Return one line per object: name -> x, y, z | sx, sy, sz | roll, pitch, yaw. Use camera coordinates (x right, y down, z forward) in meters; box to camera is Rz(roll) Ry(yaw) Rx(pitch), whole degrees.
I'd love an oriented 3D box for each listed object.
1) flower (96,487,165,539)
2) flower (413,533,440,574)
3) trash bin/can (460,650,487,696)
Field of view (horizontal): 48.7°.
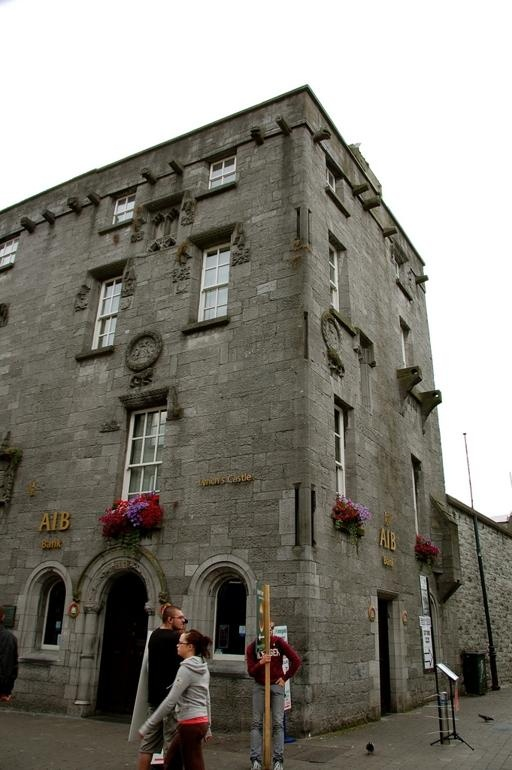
flower -> -2.444, 2.546, 11.156 | 1.027, 0.599, 1.012 | -9, -9, -12
flower -> 4.488, 4.498, 15.221 | 0.799, 0.802, 1.006 | 10, -27, -12
trash bin/can -> 6.341, 8.326, 16.429 | 0.590, 1.139, 0.662 | -15, -30, 32
